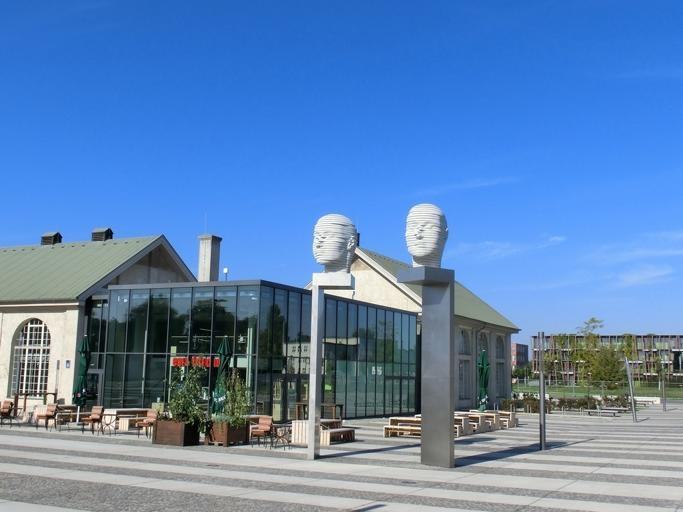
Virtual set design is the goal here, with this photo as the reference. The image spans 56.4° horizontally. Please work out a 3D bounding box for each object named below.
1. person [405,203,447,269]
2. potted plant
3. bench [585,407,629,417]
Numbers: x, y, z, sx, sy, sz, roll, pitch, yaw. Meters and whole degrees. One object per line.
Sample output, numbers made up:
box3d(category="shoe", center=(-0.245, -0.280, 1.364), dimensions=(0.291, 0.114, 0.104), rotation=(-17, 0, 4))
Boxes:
box3d(category="person", center=(2.732, -0.598, 20.321), dimensions=(1.261, 2.086, 0.714), rotation=(-3, -13, 4))
box3d(category="potted plant", center=(-5.217, 5.645, 23.885), dimensions=(3.370, 2.859, 1.759), rotation=(0, -14, -9))
box3d(category="bench", center=(18.771, 11.102, 45.270), dimensions=(2.436, 0.589, 6.368), rotation=(-9, -16, 27))
